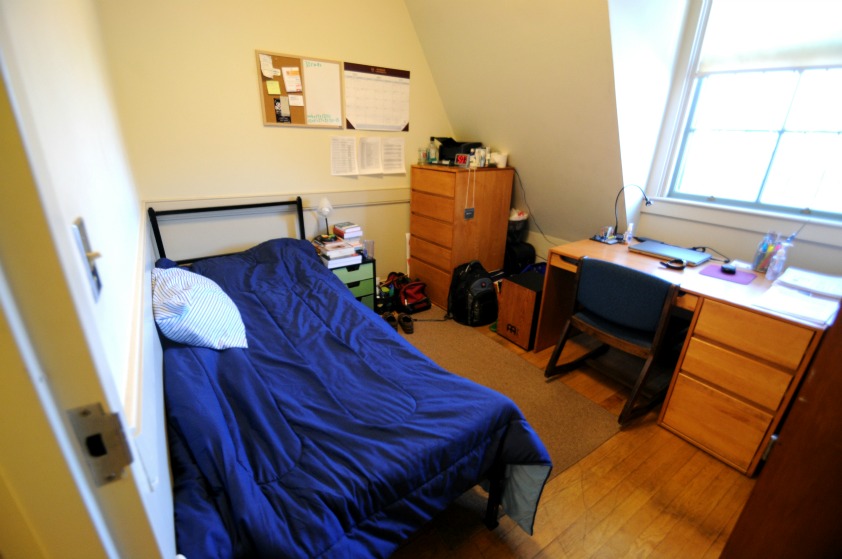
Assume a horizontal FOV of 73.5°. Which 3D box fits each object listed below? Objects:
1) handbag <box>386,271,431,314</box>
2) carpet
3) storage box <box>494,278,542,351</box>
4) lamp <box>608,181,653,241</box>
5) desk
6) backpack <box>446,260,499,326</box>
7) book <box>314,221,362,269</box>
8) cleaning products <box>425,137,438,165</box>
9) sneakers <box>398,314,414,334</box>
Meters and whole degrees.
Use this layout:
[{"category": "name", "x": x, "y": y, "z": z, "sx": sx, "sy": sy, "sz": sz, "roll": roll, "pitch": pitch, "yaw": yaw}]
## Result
[{"category": "handbag", "x": -0.118, "y": 0.077, "z": 4.523, "sx": 0.232, "sy": 0.150, "sz": 0.372, "roll": -19, "pitch": 37, "yaw": -24}, {"category": "carpet", "x": 0.461, "y": 0.784, "z": 3.253, "sx": 0.967, "sy": 0.016, "sz": 1.063, "roll": -19, "pitch": 25, "yaw": -27}, {"category": "storage box", "x": 0.688, "y": 0.245, "z": 3.930, "sx": 0.140, "sy": 0.429, "sz": 0.365, "roll": -12, "pitch": 24, "yaw": -22}, {"category": "lamp", "x": 1.437, "y": -0.463, "z": 3.867, "sx": 0.251, "sy": 0.378, "sz": 0.350, "roll": 10, "pitch": 26, "yaw": 20}, {"category": "desk", "x": 1.491, "y": 0.321, "z": 3.454, "sx": 1.540, "sy": 0.966, "sz": 0.701, "roll": 21, "pitch": 31, "yaw": 38}, {"category": "backpack", "x": 0.361, "y": 0.092, "z": 4.404, "sx": 0.394, "sy": 0.479, "sz": 0.443, "roll": -22, "pitch": 29, "yaw": -37}, {"category": "book", "x": -0.609, "y": -0.277, "z": 4.158, "sx": 0.345, "sy": 0.124, "sz": 0.340, "roll": -15, "pitch": 43, "yaw": -32}, {"category": "cleaning products", "x": 0.090, "y": -1.042, "z": 4.535, "sx": 0.114, "sy": 0.180, "sz": 0.128, "roll": 4, "pitch": 24, "yaw": 8}, {"category": "sneakers", "x": -0.103, "y": 0.320, "z": 4.153, "sx": 0.068, "sy": 0.067, "sz": 0.183, "roll": -5, "pitch": 22, "yaw": -12}]
